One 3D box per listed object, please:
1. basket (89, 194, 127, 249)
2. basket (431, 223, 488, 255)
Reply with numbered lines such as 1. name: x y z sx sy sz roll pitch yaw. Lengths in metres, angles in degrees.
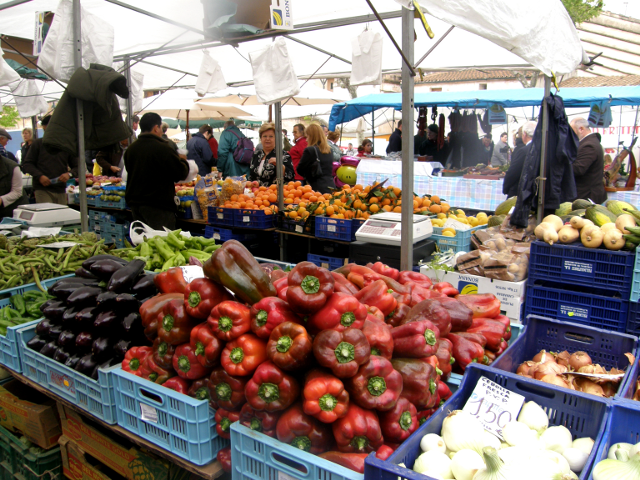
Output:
1. basket: -3.494 -0.330 7.814 0.842 0.604 0.467 15 16 35
2. basket: 1.657 -0.008 5.721 0.287 0.150 0.461 3 8 37
